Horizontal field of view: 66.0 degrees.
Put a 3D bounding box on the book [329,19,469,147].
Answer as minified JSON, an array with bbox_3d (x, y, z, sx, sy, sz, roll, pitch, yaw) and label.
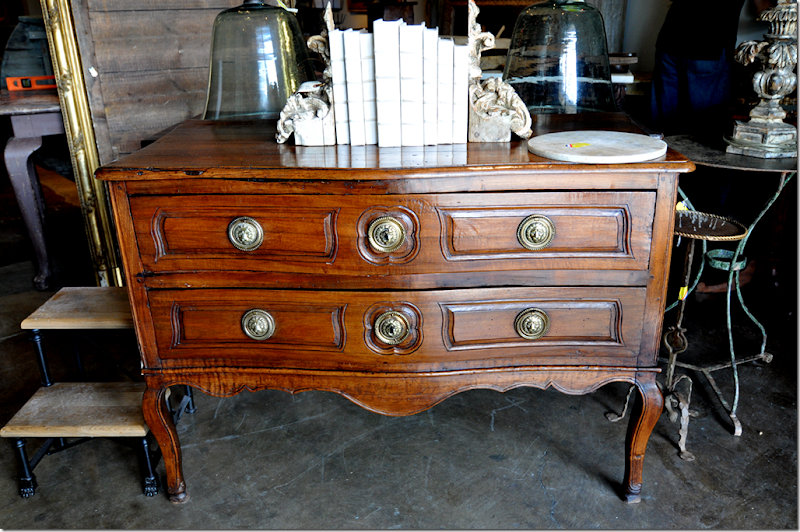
[{"bbox_3d":[-0.001,-0.652,2.228,0.580,0.408,0.265,1,29,5],"label":"book"}]

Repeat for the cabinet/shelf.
[{"bbox_3d":[0.034,0.122,2.561,1.975,0.921,0.915,-1,9,5],"label":"cabinet/shelf"}]

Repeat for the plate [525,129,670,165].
[{"bbox_3d":[0.697,-0.429,2.199,0.476,0.079,0.364,1,18,8],"label":"plate"}]
